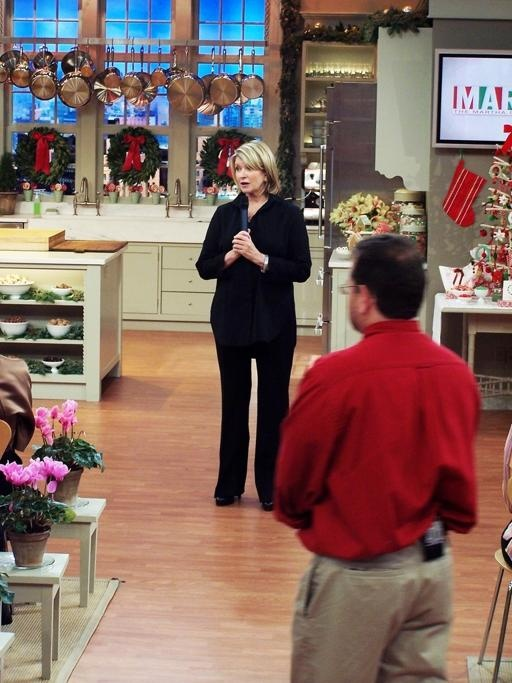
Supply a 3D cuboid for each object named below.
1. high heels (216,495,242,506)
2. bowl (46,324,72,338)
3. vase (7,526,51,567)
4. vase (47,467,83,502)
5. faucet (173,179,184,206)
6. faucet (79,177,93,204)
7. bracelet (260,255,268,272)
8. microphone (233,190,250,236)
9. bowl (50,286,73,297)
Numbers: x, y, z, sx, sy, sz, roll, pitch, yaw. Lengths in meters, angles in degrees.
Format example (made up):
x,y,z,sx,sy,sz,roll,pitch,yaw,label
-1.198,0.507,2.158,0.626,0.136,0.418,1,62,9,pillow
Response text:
x,y,z,sx,sy,sz,roll,pitch,yaw,label
-0.145,0.820,3.354,0.050,0.055,0.151,-1,-5,29,high heels
-1.625,-0.091,5.222,0.142,0.081,0.135,-1,2,0,bowl
-0.667,0.583,1.898,0.117,0.086,0.116,1,2,38,vase
-0.671,0.499,2.312,0.128,0.091,0.123,5,12,22,vase
-1.035,-1.941,8.483,0.118,0.348,0.149,1,9,-7,faucet
-2.282,-1.971,8.513,0.149,0.360,0.225,-4,11,-33,faucet
0.038,-0.350,2.899,0.044,0.066,0.061,4,-29,-1,bracelet
-0.070,-0.593,2.971,0.079,0.175,0.131,2,9,-3,microphone
-1.587,-0.396,5.213,0.177,0.101,0.088,-1,9,-17,bowl
